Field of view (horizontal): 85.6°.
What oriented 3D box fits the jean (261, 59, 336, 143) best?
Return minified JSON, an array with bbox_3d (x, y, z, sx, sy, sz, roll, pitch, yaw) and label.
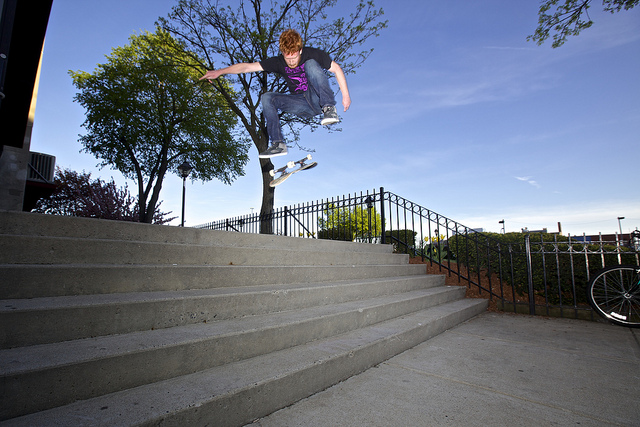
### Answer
[{"bbox_3d":[-0.369,-2.132,6.797,1.529,1.482,0.763,5,10,25],"label":"jean"}]
